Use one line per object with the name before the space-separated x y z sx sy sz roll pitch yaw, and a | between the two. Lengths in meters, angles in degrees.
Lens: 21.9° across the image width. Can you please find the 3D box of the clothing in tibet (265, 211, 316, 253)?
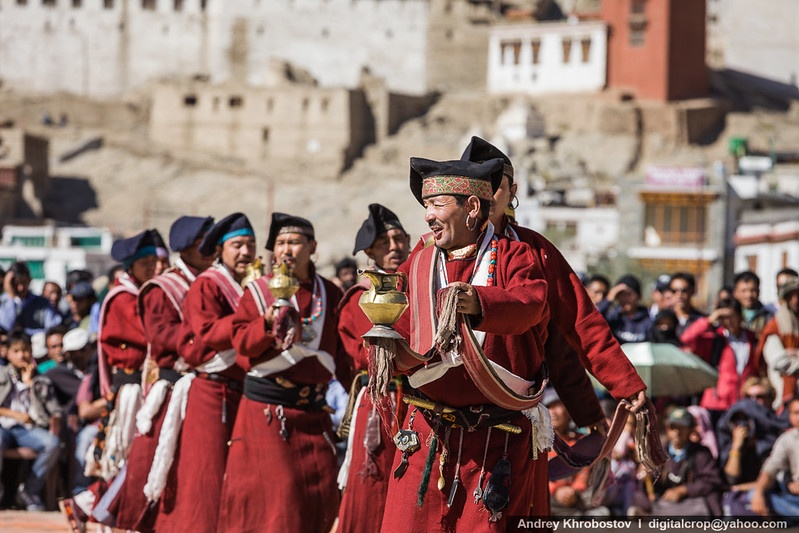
clothing in tibet | -2.020 -0.556 36.427 0.641 0.728 0.404 14 10 2

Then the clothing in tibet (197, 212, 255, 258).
clothing in tibet | -3.161 -0.643 36.792 1.048 0.410 0.700 -20 -1 40

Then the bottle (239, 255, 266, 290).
bottle | -2.628 0.115 36.280 0.344 0.567 0.424 16 11 -30

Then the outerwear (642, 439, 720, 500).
outerwear | 5.307 3.809 38.048 1.624 1.111 0.970 -1 -1 34

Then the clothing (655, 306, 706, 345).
clothing | 5.315 1.148 39.454 0.897 0.589 0.815 19 -12 -37

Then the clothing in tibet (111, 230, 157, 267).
clothing in tibet | -4.951 -0.310 37.507 0.642 0.389 0.736 -24 9 -41

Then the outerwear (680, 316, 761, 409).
outerwear | 6.085 1.885 38.775 1.469 1.115 0.489 24 -34 -16
